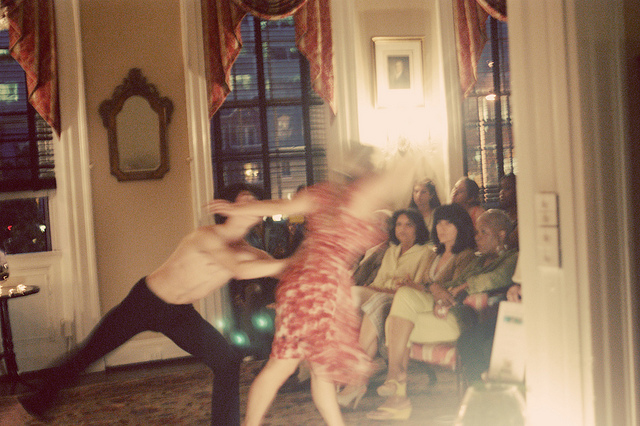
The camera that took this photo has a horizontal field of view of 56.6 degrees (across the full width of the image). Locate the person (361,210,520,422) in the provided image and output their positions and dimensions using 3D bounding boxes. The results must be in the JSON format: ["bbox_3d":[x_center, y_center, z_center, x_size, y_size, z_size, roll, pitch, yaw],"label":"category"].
[{"bbox_3d":[0.820,0.699,4.051,1.210,1.228,0.329,-5,7,-23],"label":"person"}]

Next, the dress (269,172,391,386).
[{"bbox_3d":[0.093,0.432,4.156,0.768,1.377,0.629,-1,7,6],"label":"dress"}]

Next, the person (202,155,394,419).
[{"bbox_3d":[-0.092,0.471,4.160,1.223,1.683,0.809,-1,7,6],"label":"person"}]
